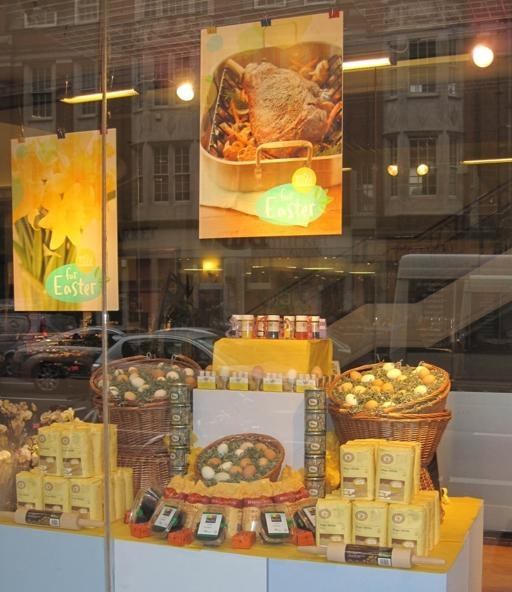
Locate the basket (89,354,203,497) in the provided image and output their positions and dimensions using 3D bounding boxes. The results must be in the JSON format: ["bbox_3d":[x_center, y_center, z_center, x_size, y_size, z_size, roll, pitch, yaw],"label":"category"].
[{"bbox_3d":[-0.479,0.560,3.519,0.651,0.699,0.557,-1,-5,-6],"label":"basket"}]

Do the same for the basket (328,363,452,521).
[{"bbox_3d":[0.543,0.546,3.084,0.571,0.534,0.492,-2,-2,6],"label":"basket"}]

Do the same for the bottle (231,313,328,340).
[{"bbox_3d":[0.086,0.129,3.220,0.425,0.082,0.056,0,1,17],"label":"bottle"}]

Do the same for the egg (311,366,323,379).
[{"bbox_3d":[0.250,0.311,3.199,0.047,0.040,0.050,5,-8,-9],"label":"egg"}]

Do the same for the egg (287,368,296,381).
[{"bbox_3d":[0.149,0.328,3.214,0.045,0.047,0.042,0,4,1],"label":"egg"}]

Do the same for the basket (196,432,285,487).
[{"bbox_3d":[-0.071,0.667,3.178,0.370,0.167,0.140,-1,1,-3],"label":"basket"}]

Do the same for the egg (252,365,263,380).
[{"bbox_3d":[0.003,0.322,3.264,0.044,0.050,0.042,2,3,-6],"label":"egg"}]
